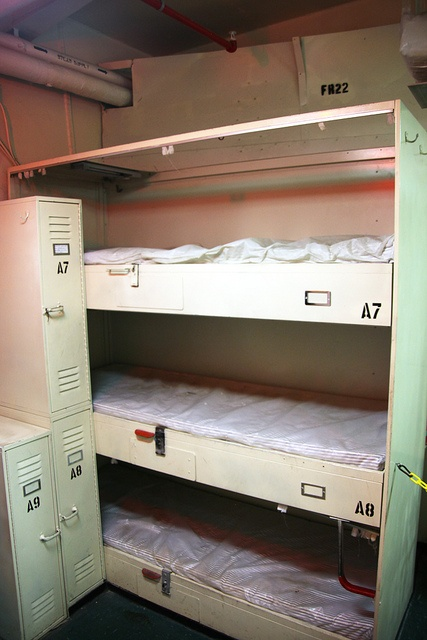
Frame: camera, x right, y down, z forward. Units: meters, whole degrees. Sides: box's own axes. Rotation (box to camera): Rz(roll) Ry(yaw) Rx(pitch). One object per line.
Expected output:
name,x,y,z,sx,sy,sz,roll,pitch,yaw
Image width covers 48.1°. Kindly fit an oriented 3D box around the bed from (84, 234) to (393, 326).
bed,0.062,-0.178,2.063,1.409,0.335,0.276,2,5,32
